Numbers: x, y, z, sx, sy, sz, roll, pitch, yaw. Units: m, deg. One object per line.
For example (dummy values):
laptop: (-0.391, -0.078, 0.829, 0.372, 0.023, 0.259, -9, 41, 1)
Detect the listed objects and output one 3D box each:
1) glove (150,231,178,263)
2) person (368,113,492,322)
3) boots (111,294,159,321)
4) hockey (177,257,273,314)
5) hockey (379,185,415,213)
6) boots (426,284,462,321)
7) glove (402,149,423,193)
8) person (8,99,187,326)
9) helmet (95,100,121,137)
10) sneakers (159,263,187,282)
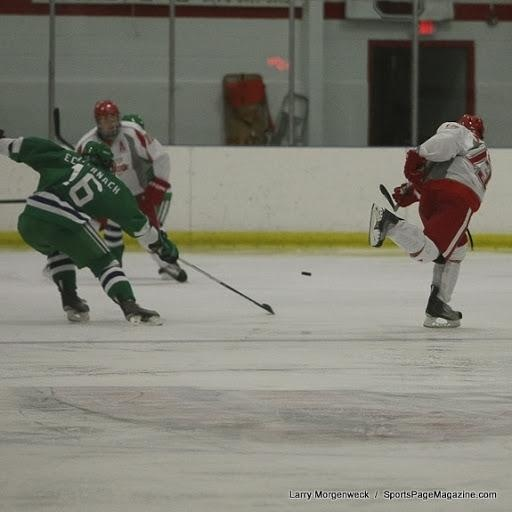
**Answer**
glove: (-0.518, -0.050, 7.458, 0.112, 0.098, 0.257, 43, 3, -17)
person: (0.811, -0.152, 5.963, 0.486, 0.925, 0.584, 4, 12, 15)
boots: (-0.540, 0.243, 5.842, 0.189, 0.126, 0.110, 0, 11, -5)
hockey: (-0.177, 0.169, 7.161, 0.486, 0.015, 0.036, 31, 21, 10)
hockey: (0.691, -0.284, 6.213, 0.173, 0.134, 0.068, -16, -8, 8)
boots: (0.895, 0.234, 5.943, 0.217, 0.171, 0.090, 5, -4, -6)
glove: (0.734, -0.411, 5.903, 0.057, 0.136, 0.141, -5, 20, 18)
person: (-0.832, -0.190, 6.291, 0.742, 0.843, 1.199, 1, 11, -4)
helmet: (-0.790, -0.751, 6.829, 0.142, 0.177, 0.183, -7, 39, -5)
sneakers: (-0.491, 0.088, 7.598, 0.155, 0.085, 0.062, 15, 37, 27)
